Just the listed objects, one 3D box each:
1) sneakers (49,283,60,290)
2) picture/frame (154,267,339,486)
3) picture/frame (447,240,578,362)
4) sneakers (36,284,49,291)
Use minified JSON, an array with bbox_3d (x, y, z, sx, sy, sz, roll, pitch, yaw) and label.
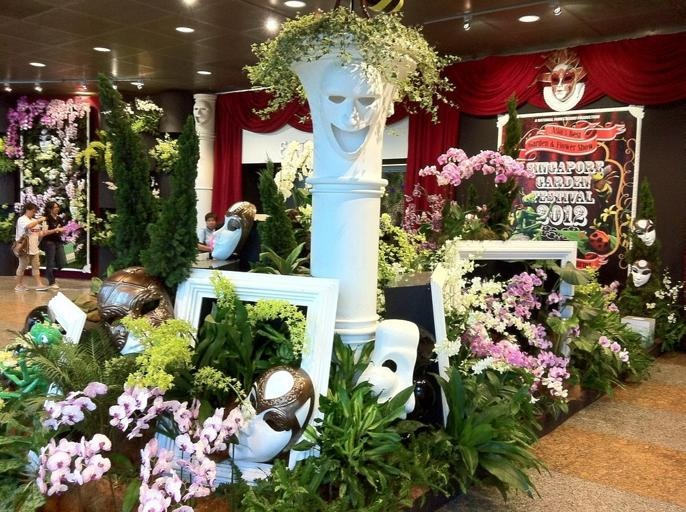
[{"bbox_3d":[-5.084,0.531,8.148,0.085,0.085,0.215,-12,9,-43],"label":"sneakers"},{"bbox_3d":[-0.394,0.536,1.968,0.872,1.001,0.072,4,-20,9],"label":"picture/frame"},{"bbox_3d":[1.002,0.248,2.798,0.862,0.791,0.064,0,2,-4],"label":"picture/frame"},{"bbox_3d":[-5.093,0.529,7.840,0.209,0.139,0.096,-1,3,-7],"label":"sneakers"}]
